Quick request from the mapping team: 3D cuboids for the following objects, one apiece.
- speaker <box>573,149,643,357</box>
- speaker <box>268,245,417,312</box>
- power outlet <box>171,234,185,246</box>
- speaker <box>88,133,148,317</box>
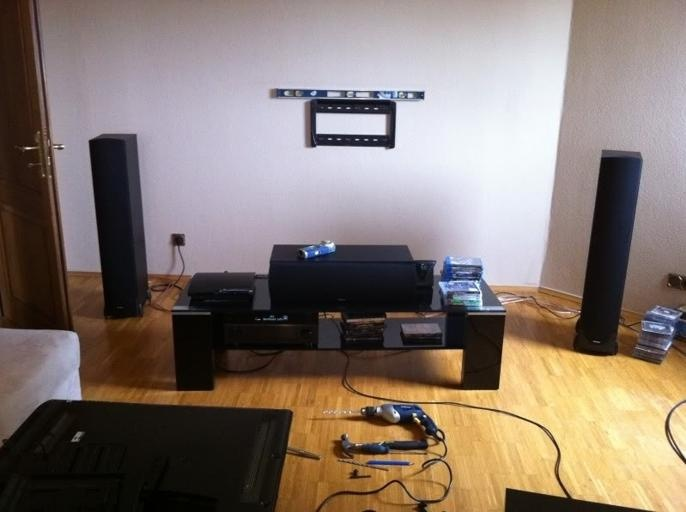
[{"bbox_3d":[1.652,0.013,3.443,0.255,1.256,0.166,5,18,17],"label":"speaker"},{"bbox_3d":[-0.005,0.097,3.227,0.844,0.288,0.386,-1,17,-5],"label":"speaker"},{"bbox_3d":[-1.342,-0.137,4.471,0.093,0.094,0.047,0,7,-7],"label":"power outlet"},{"bbox_3d":[-1.615,-0.219,3.966,0.298,1.261,0.444,-4,18,-12],"label":"speaker"}]
